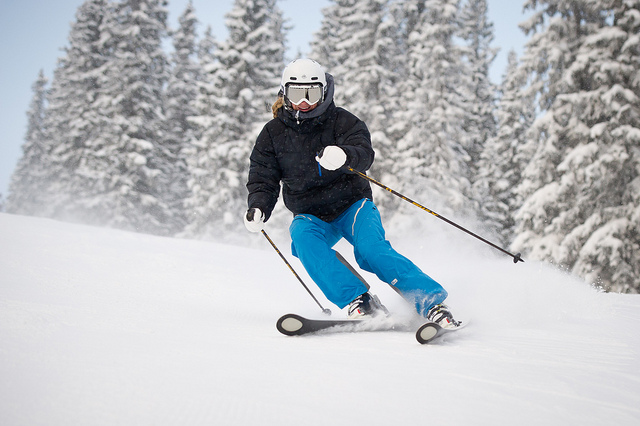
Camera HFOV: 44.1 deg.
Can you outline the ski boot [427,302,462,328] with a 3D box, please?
[{"bbox_3d":[2.804,2.359,18.181,0.475,0.240,0.650,-27,42,-19],"label":"ski boot"}]
